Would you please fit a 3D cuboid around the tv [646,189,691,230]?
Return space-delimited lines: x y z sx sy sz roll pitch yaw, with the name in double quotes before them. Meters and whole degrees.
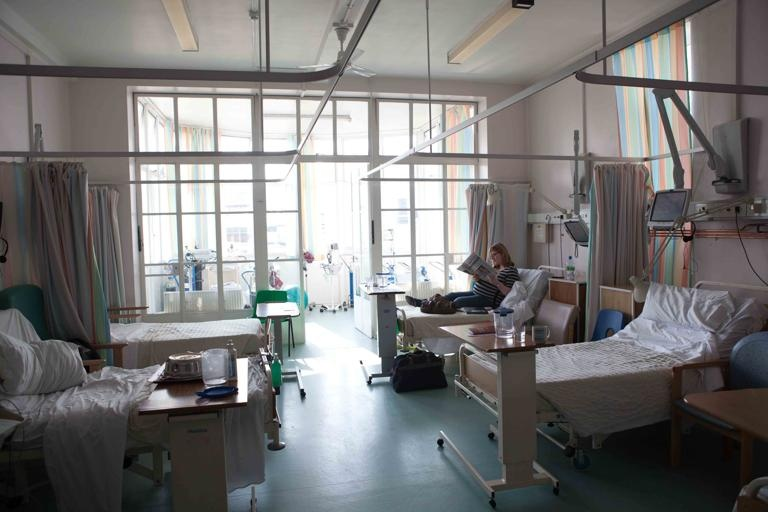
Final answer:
"tv" 3.157 -0.508 6.049 0.208 0.482 0.437 22 -14 -26

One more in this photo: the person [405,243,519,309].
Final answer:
"person" 1.135 0.359 7.855 1.634 0.887 0.774 -6 15 -17

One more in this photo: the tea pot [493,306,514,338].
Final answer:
"tea pot" 1.128 0.648 5.286 0.259 0.346 0.243 0 -3 0

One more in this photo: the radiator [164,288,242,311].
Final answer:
"radiator" -2.807 0.692 8.652 1.266 0.284 0.108 -4 2 -5

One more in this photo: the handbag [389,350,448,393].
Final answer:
"handbag" 0.432 1.453 6.849 0.646 0.431 0.471 -1 -1 -11

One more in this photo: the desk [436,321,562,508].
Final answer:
"desk" 1.121 1.440 5.212 0.796 1.452 0.819 -4 2 -12

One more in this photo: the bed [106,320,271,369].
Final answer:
"bed" -2.353 1.006 6.695 1.442 0.386 0.932 1 -1 -8

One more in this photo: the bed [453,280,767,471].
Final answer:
"bed" 2.331 1.112 5.772 2.562 1.144 1.700 -5 4 -9

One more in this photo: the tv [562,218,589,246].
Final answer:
"tv" 2.675 -0.328 7.551 0.090 0.345 0.345 -27 25 -29

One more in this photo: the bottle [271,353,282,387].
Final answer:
"bottle" -1.302 1.398 6.645 0.091 0.272 0.186 -4 2 -11

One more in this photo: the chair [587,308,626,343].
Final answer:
"chair" 2.700 0.817 6.584 0.369 0.498 0.357 -3 1 -35

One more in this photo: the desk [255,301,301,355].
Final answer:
"desk" -1.352 0.771 7.044 0.607 0.789 1.127 0 3 -9

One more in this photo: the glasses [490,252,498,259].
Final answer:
"glasses" 1.604 -0.014 7.939 0.095 0.064 0.070 2 -5 -21

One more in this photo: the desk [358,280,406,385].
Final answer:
"desk" -0.015 1.089 7.668 0.552 1.127 1.283 -2 1 -11

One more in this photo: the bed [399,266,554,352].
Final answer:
"bed" 1.180 0.686 7.588 1.742 0.988 1.103 -1 0 -13

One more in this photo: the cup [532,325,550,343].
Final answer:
"cup" 1.508 0.764 5.304 0.202 0.147 0.133 3 -5 -43

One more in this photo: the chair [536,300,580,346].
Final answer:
"chair" 2.196 0.828 7.120 0.582 0.573 0.597 0 1 -23

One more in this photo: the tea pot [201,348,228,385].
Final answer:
"tea pot" -1.390 0.926 4.660 0.274 0.270 0.243 2 -1 -29
